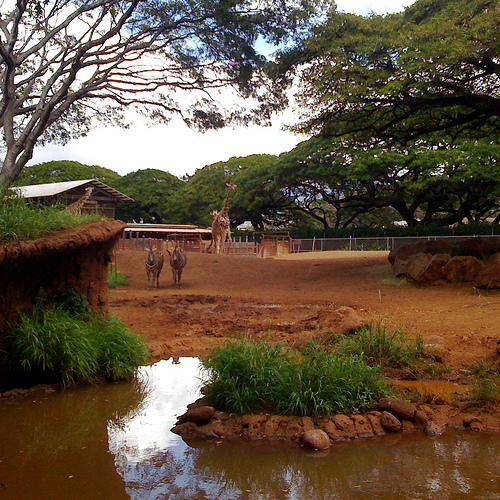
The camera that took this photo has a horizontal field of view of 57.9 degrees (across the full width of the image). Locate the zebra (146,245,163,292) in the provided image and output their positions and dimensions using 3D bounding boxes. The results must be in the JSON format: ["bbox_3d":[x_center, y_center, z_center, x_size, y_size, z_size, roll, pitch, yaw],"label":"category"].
[{"bbox_3d":[-3.757,0.552,17.491,0.677,1.367,2.343,1,5,-9],"label":"zebra"}]
